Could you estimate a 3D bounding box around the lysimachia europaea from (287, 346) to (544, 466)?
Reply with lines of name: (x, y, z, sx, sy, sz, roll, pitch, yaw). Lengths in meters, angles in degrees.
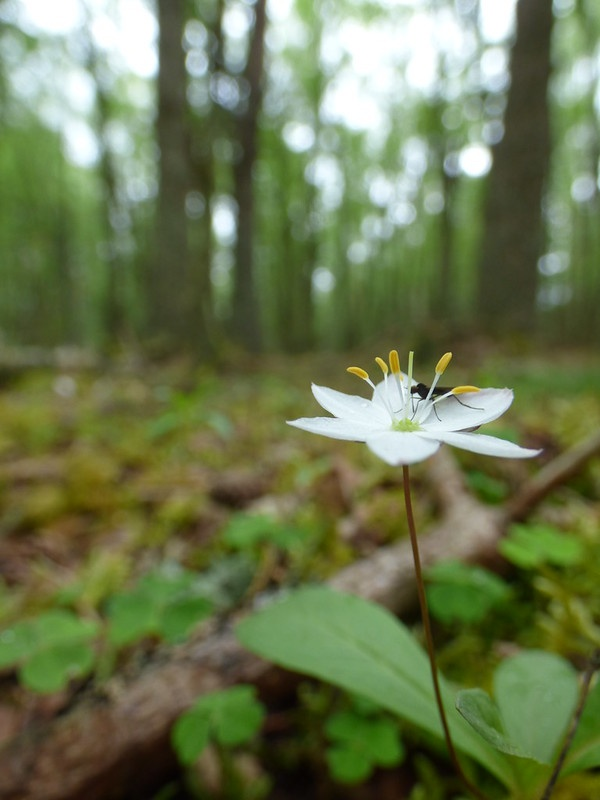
lysimachia europaea: (0.336, 0.003, 1.979, 0.673, 0.270, 0.606, 7, 14, 43)
